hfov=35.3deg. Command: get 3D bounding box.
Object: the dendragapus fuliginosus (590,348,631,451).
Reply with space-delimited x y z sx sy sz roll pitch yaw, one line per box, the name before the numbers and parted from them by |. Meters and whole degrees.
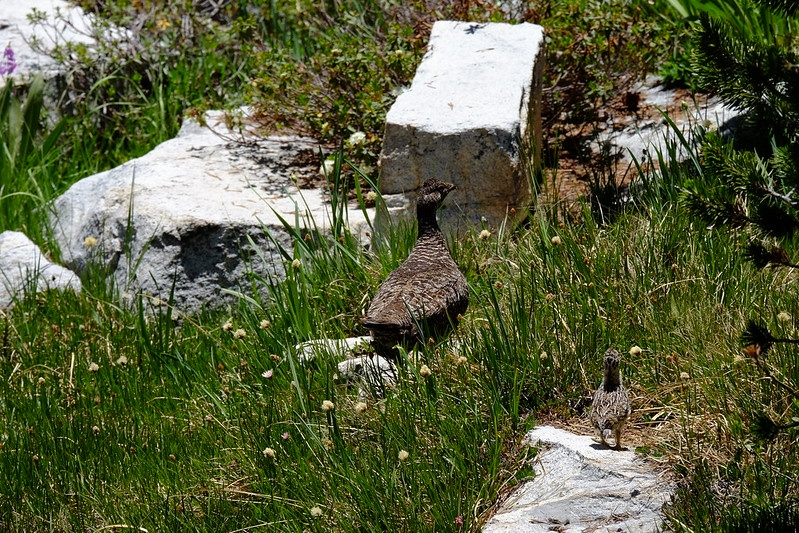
dendragapus fuliginosus | 1.305 0.824 7.872 0.242 0.541 0.196 -11 9 -3
